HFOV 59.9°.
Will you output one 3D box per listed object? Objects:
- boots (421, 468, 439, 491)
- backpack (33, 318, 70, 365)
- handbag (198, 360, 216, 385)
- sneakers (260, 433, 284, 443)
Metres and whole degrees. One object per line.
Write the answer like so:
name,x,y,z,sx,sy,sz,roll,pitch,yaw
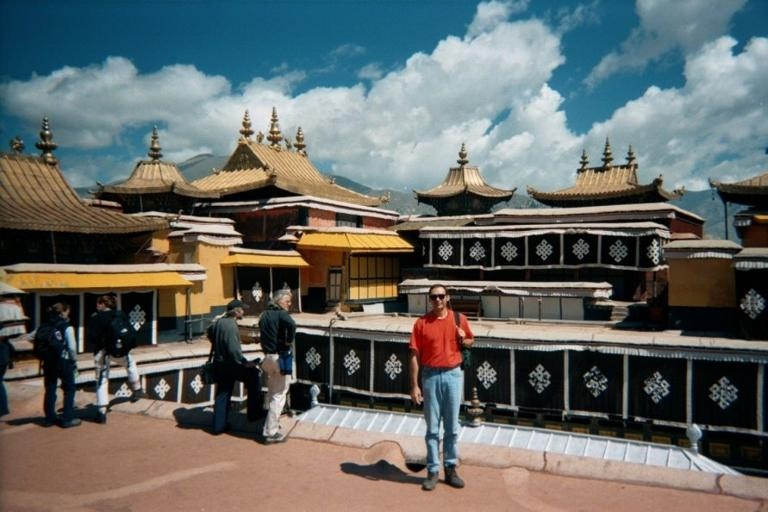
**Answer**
boots,1.014,4.893,14.753,0.341,0.368,0.444,3,15,12
backpack,-8.421,2.113,16.857,0.817,1.088,0.497,1,15,2
handbag,-4.451,2.955,16.782,0.293,0.620,0.433,-7,16,-25
sneakers,-2.717,4.454,16.318,0.492,0.208,0.228,-1,0,-17
